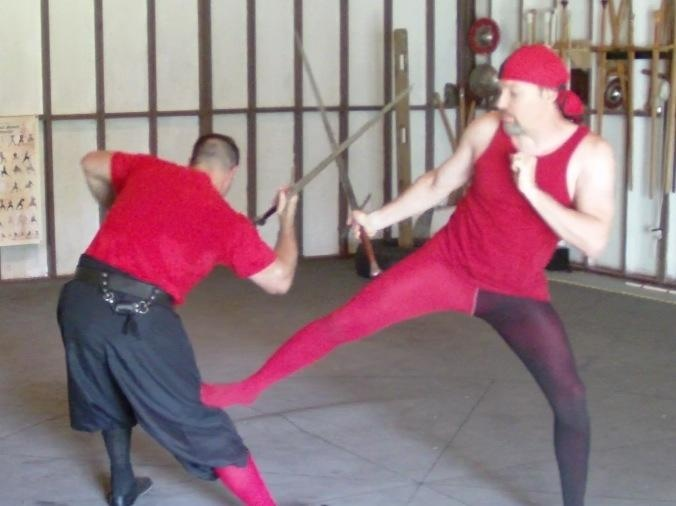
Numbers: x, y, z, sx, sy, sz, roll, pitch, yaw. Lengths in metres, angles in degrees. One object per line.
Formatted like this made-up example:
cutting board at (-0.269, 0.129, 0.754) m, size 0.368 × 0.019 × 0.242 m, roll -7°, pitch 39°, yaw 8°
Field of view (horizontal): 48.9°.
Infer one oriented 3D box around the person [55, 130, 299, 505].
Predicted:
person at (-0.681, 0.335, 3.119) m, size 0.933 × 1.458 × 0.405 m, roll 2°, pitch 10°, yaw -5°

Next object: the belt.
belt at (-0.837, 0.146, 2.928) m, size 0.210 × 0.063 × 0.197 m, roll 23°, pitch -6°, yaw -41°
